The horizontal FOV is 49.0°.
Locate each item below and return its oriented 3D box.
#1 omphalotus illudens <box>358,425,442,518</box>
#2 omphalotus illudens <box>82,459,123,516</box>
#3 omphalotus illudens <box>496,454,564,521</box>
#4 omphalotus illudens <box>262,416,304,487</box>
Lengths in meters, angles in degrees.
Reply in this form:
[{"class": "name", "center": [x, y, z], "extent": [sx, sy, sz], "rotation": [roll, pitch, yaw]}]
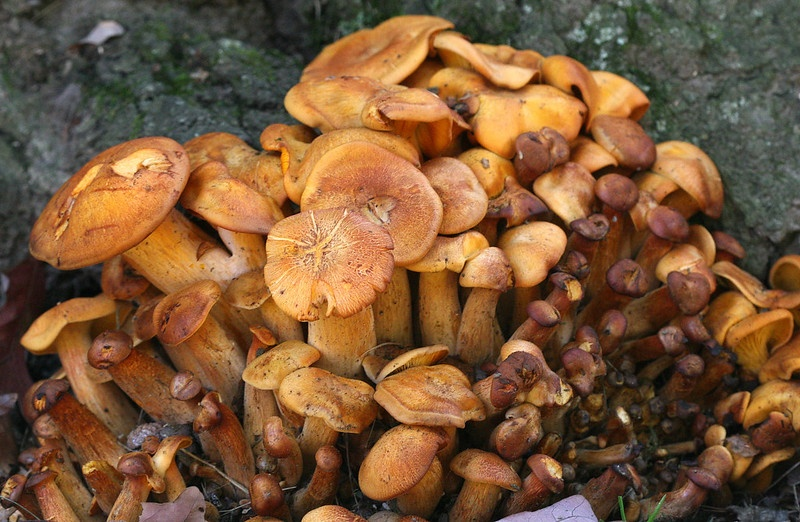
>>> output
[{"class": "omphalotus illudens", "center": [-0.017, 1.656, 7.230], "extent": [0.614, 0.640, 0.359], "rotation": [-2, -45, 50]}, {"class": "omphalotus illudens", "center": [-2.598, 1.944, 7.644], "extent": [0.305, 0.499, 0.114], "rotation": [-15, 20, 0]}, {"class": "omphalotus illudens", "center": [1.080, 1.938, 7.414], "extent": [0.306, 0.508, 0.293], "rotation": [25, 21, -19]}, {"class": "omphalotus illudens", "center": [-1.020, 1.668, 7.545], "extent": [0.225, 0.208, 0.615], "rotation": [-22, -37, -13]}]
